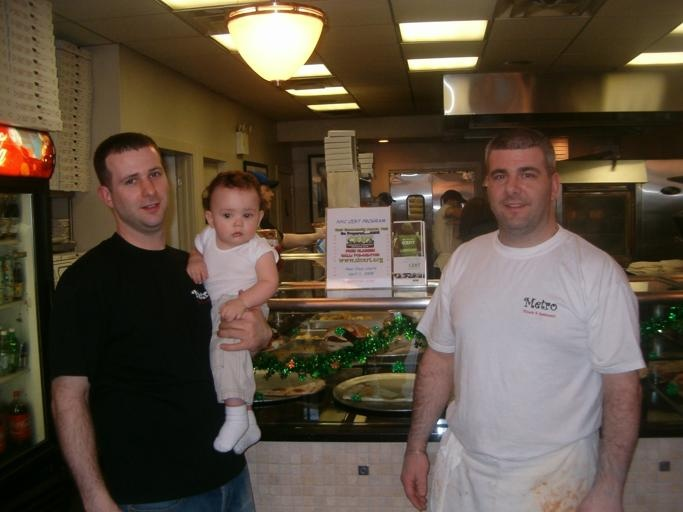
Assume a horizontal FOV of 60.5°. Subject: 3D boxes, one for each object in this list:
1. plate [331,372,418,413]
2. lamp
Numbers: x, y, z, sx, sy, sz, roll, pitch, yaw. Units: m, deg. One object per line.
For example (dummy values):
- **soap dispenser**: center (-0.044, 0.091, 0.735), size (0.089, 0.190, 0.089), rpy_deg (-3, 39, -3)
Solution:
- **plate**: center (0.183, 0.620, 2.724), size (0.392, 0.381, 0.041), rpy_deg (-4, 43, 13)
- **lamp**: center (-0.347, -1.182, 3.308), size (0.479, 0.283, 0.456), rpy_deg (-2, 2, -30)
